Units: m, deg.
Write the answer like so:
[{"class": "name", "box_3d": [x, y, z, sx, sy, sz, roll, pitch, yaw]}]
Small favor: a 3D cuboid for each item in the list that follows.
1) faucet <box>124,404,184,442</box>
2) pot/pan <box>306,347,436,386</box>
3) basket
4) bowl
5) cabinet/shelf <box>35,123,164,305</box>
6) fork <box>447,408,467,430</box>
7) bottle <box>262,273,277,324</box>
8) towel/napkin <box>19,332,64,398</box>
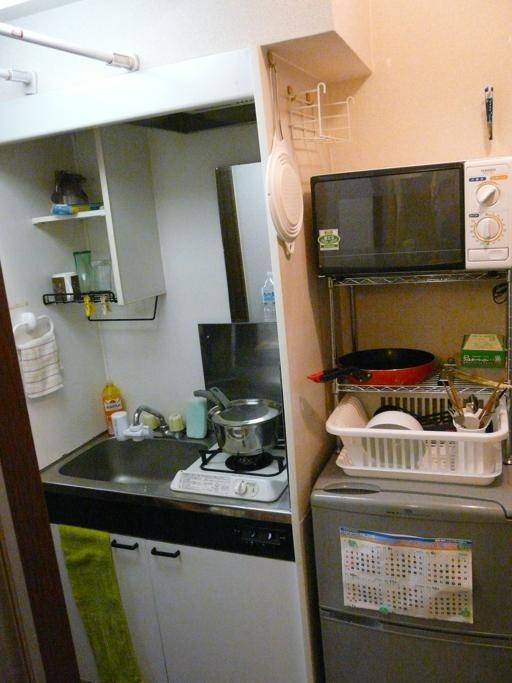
[{"class": "faucet", "box_3d": [-0.363, 0.306, 2.097, 0.177, 0.098, 0.141, 0, 10, 29]}, {"class": "pot/pan", "box_3d": [0.351, 0.083, 1.649, 0.290, 0.091, 0.410, -3, 11, 21]}, {"class": "basket", "box_3d": [0.411, 0.252, 1.492, 0.348, 0.114, 0.251, 0, 11, 17]}, {"class": "bowl", "box_3d": [0.359, 0.252, 1.532, 0.155, 0.145, 0.135, 4, -6, -6]}, {"class": "cabinet/shelf", "box_3d": [-0.423, -0.365, 1.819, 0.449, 0.535, 0.286, 0, 14, 35]}, {"class": "fork", "box_3d": [0.535, 0.207, 1.506, 0.037, 0.054, 0.061, -8, -4, 20]}, {"class": "bottle", "box_3d": [0.034, -0.130, 1.691, 0.027, 0.153, 0.099, -11, 11, -13]}, {"class": "towel/napkin", "box_3d": [-0.673, 0.071, 1.785, 0.069, 0.179, 0.168, 7, 26, 24]}]
